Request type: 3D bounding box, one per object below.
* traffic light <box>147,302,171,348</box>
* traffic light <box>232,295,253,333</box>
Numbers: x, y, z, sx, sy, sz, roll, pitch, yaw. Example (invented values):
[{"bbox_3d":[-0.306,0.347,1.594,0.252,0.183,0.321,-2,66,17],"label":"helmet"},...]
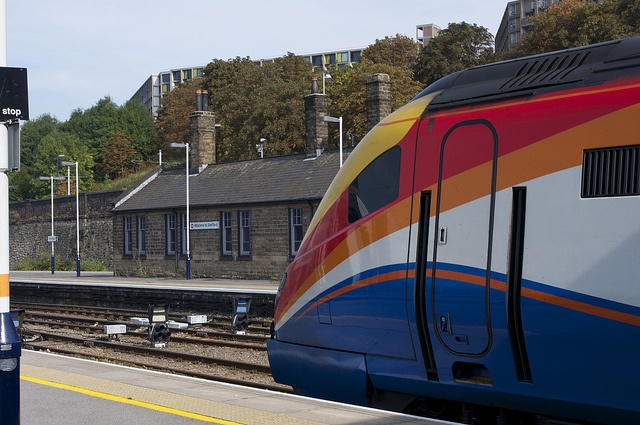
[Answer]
[{"bbox_3d":[-3.923,2.789,20.310,0.481,1.063,0.752,-6,2,40],"label":"traffic light"},{"bbox_3d":[-2.089,2.770,22.054,0.555,0.918,1.769,-8,2,-5],"label":"traffic light"}]
